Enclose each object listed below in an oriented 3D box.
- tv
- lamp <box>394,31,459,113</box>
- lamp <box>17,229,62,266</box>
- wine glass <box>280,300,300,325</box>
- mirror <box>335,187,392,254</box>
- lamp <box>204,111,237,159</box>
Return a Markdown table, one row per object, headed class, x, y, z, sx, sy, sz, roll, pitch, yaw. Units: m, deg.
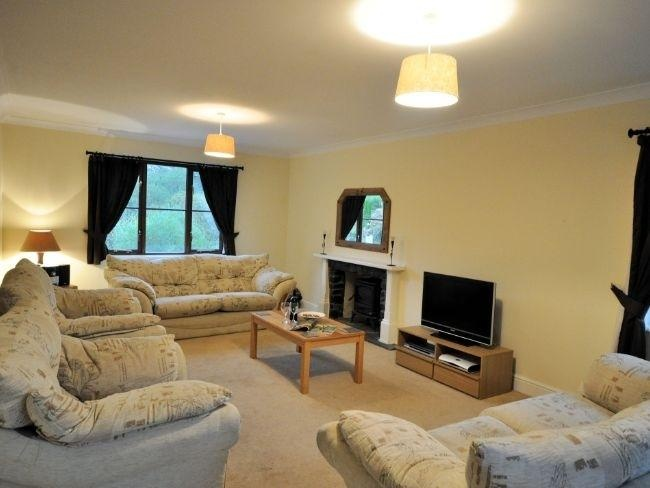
| class | x | y | z | sx | sy | sz | roll | pitch | yaw |
| --- | --- | --- | --- | --- | --- | --- | --- | --- | --- |
| tv | 1.377 | 0.692 | 5.078 | 0.224 | 0.683 | 0.838 | -5 | 10 | -43 |
| lamp | 0.690 | -1.165 | 3.261 | 0.385 | 0.436 | 0.398 | 2 | 3 | 0 |
| lamp | -3.598 | 0.076 | 6.123 | 0.468 | 0.517 | 0.464 | 0 | 4 | -25 |
| wine glass | -0.390 | 0.733 | 5.175 | 0.198 | 0.316 | 0.205 | 2 | 2 | 40 |
| mirror | 0.493 | -0.340 | 6.663 | 0.976 | 0.843 | 0.053 | 0 | 7 | -37 |
| lamp | -1.205 | -1.257 | 5.585 | 0.338 | 0.508 | 0.358 | 3 | -5 | 21 |
